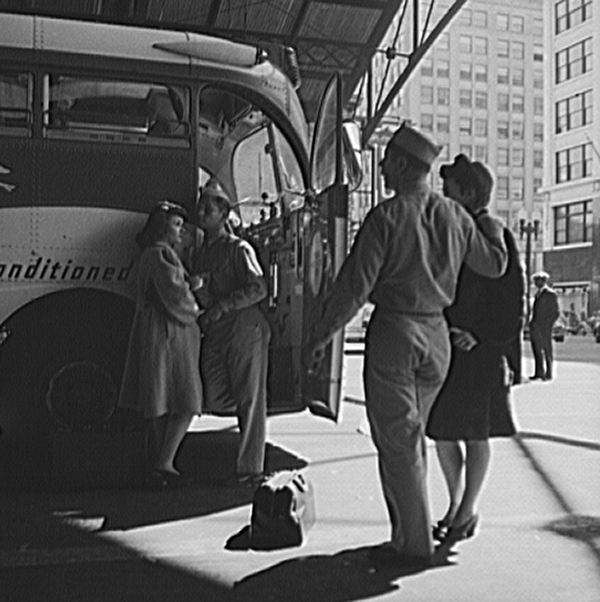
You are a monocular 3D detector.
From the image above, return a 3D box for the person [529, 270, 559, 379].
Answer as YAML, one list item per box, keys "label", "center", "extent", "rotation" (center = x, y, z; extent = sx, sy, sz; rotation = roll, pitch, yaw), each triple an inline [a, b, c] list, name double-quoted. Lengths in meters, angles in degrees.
- label: "person"
  center: [4.090, 0.438, 16.313]
  extent: [0.458, 1.814, 1.574]
  rotation: [1, 1, 14]

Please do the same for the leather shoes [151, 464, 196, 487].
- label: "leather shoes"
  center: [-0.926, 1.272, 7.136]
  extent: [0.326, 0.161, 0.132]
  rotation: [2, -3, -11]

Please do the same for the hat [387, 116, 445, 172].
- label: "hat"
  center: [0.711, -0.889, 5.816]
  extent: [0.390, 0.200, 0.312]
  rotation: [26, -2, -41]

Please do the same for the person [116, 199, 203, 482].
- label: "person"
  center: [-1.023, 0.299, 7.198]
  extent: [0.588, 2.036, 0.381]
  rotation: [0, 1, -8]

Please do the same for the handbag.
- label: "handbag"
  center: [-0.072, 1.297, 6.192]
  extent: [0.277, 0.390, 0.961]
  rotation: [-1, -1, 11]

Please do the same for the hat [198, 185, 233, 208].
- label: "hat"
  center: [-0.624, -0.831, 7.463]
  extent: [0.143, 0.101, 0.216]
  rotation: [6, -20, 38]

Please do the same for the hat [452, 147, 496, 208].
- label: "hat"
  center: [1.128, -0.743, 6.200]
  extent: [0.273, 0.311, 0.221]
  rotation: [-11, 13, 41]
